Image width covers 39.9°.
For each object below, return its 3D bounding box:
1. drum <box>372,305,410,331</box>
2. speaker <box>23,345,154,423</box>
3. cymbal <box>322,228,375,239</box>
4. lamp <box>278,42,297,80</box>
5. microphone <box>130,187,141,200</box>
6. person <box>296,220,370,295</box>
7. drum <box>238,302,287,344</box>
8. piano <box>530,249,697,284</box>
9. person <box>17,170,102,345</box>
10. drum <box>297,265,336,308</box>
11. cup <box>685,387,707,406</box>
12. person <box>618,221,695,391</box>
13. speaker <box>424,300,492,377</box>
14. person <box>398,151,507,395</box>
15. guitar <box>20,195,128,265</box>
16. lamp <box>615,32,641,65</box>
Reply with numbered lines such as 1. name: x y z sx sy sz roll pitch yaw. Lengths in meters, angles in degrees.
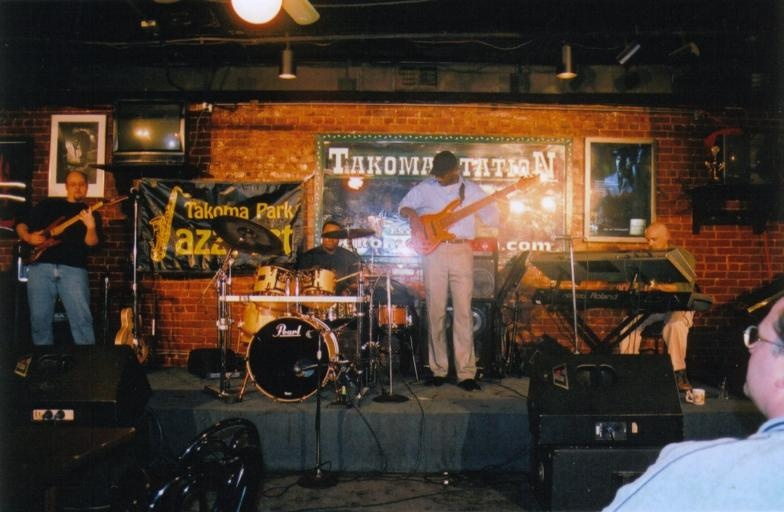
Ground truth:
1. drum: -0.034 0.731 12.899 0.323 0.192 0.330 2 -4 0
2. speaker: -3.144 1.323 11.106 1.079 0.589 0.830 1 36 2
3. cymbal: -0.549 -0.284 13.263 0.528 0.137 0.674 1 -1 -22
4. lamp: -1.343 -2.468 13.665 0.180 0.423 0.291 2 -1 -31
5. microphone: -3.277 -0.804 13.774 0.156 0.149 0.036 16 13 6
6. person: -0.806 0.066 13.773 0.792 0.973 0.692 1 1 -12
7. drum: -1.598 0.725 12.778 0.445 0.536 0.641 -1 3 2
8. piano: 2.589 0.103 12.655 1.807 0.405 0.349 1 -1 11
9. person: -3.939 0.085 12.969 0.931 2.257 0.738 1 -6 -19
10. drum: -0.865 0.337 12.469 0.463 0.324 0.406 0 -9 -5
11. cup: 3.401 1.563 12.091 0.222 0.151 0.139 -3 -10 13
12. person: 3.181 0.543 13.003 0.835 1.882 1.113 2 7 37
13. speaker: 0.868 0.984 13.279 0.562 0.873 0.591 0 6 5
14. person: 0.656 0.159 12.773 1.373 2.689 0.934 -1 0 20
15. guitar: -3.971 -0.316 13.328 1.105 0.332 0.149 -37 -25 -23
16. lamp: 2.998 -2.591 13.700 0.301 0.311 0.708 1 -1 13
